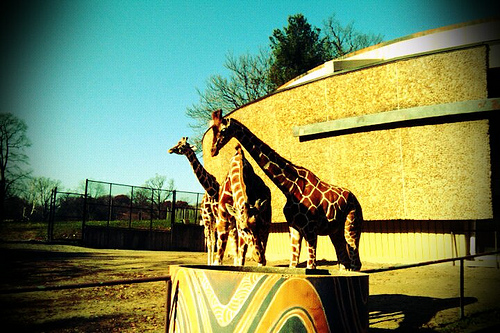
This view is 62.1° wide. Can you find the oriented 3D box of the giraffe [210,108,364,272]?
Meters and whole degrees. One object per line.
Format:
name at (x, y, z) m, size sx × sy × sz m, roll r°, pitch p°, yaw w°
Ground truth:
giraffe at (1.034, 0.884, 10.977) m, size 5.070 × 3.454 × 1.323 m, roll 13°, pitch -11°, yaw -26°
